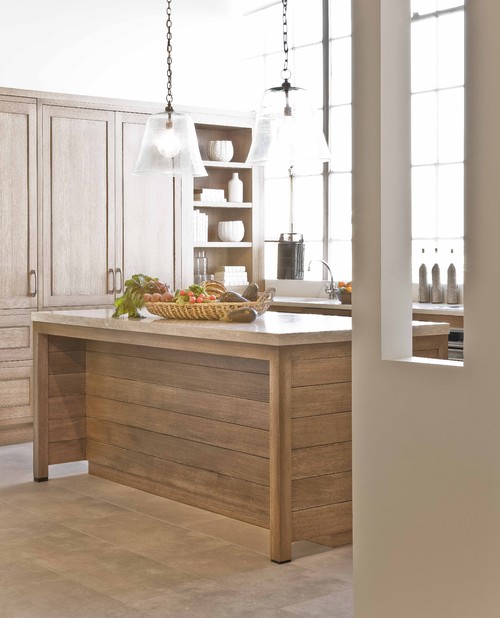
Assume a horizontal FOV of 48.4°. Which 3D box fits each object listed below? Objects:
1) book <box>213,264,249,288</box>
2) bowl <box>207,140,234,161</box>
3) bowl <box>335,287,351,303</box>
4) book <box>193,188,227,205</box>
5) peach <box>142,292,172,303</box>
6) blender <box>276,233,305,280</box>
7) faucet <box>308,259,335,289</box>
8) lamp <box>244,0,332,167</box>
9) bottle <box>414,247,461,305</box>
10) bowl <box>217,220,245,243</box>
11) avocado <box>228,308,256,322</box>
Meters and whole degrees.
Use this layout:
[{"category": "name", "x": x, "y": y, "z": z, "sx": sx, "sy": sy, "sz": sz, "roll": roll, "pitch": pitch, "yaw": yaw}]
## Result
[{"category": "book", "x": -0.183, "y": -0.306, "z": 5.793, "sx": 0.328, "sy": 0.218, "sz": 0.241, "roll": -1, "pitch": 1, "yaw": -39}, {"category": "bowl", "x": -0.308, "y": -1.616, "z": 5.798, "sx": 0.233, "sy": 0.160, "sz": 0.231, "roll": 0, "pitch": 1, "yaw": 0}, {"category": "bowl", "x": 0.794, "y": -0.146, "z": 4.728, "sx": 0.117, "sy": 0.136, "sz": 0.206, "roll": -2, "pitch": 2, "yaw": 10}, {"category": "book", "x": -0.419, "y": -1.129, "z": 5.634, "sx": 0.282, "sy": 0.133, "sz": 0.205, "roll": -3, "pitch": 6, "yaw": -40}, {"category": "peach", "x": -0.546, "y": -0.064, "z": 3.255, "sx": 0.154, "sy": 0.054, "sz": 0.068, "roll": 2, "pitch": -3, "yaw": -31}, {"category": "blender", "x": 0.404, "y": -0.532, "z": 5.627, "sx": 0.272, "sy": 0.468, "sz": 0.324, "roll": 1, "pitch": -5, "yaw": 3}, {"category": "faucet", "x": 0.696, "y": -0.336, "z": 5.417, "sx": 0.240, "sy": 0.362, "sz": 0.631, "roll": 0, "pitch": -5, "yaw": 8}, {"category": "lamp", "x": 0.181, "y": -0.894, "z": 2.715, "sx": 0.412, "sy": 0.437, "sz": 0.185, "roll": 0, "pitch": -5, "yaw": 11}, {"category": "bottle", "x": 1.546, "y": -0.262, "z": 4.561, "sx": 0.166, "sy": 0.454, "sz": 0.510, "roll": 3, "pitch": -3, "yaw": -44}, {"category": "bowl", "x": -0.198, "y": -0.795, "z": 5.823, "sx": 0.243, "sy": 0.173, "sz": 0.241, "roll": 1, "pitch": 1, "yaw": 0}, {"category": "avocado", "x": -0.038, "y": 0.029, "z": 2.778, "sx": 0.129, "sy": 0.058, "sz": 0.058, "roll": -1, "pitch": 21, "yaw": 11}]
